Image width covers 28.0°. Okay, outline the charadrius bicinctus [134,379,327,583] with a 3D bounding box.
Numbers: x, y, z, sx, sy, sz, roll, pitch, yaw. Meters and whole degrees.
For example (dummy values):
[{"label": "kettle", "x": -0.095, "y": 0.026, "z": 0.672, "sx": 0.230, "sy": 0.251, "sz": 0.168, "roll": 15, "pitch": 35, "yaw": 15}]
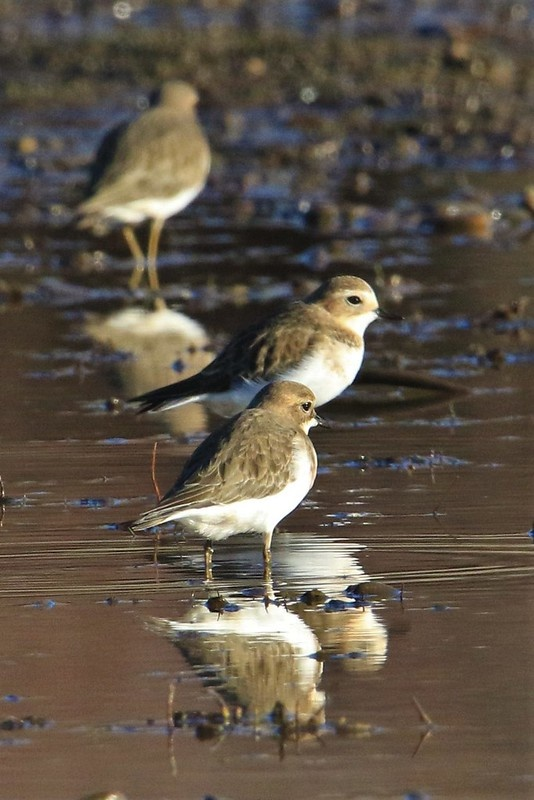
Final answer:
[{"label": "charadrius bicinctus", "x": -0.154, "y": 0.320, "z": 4.639, "sx": 0.498, "sy": 0.722, "sz": 1.075, "roll": 5, "pitch": 9, "yaw": 43}]
